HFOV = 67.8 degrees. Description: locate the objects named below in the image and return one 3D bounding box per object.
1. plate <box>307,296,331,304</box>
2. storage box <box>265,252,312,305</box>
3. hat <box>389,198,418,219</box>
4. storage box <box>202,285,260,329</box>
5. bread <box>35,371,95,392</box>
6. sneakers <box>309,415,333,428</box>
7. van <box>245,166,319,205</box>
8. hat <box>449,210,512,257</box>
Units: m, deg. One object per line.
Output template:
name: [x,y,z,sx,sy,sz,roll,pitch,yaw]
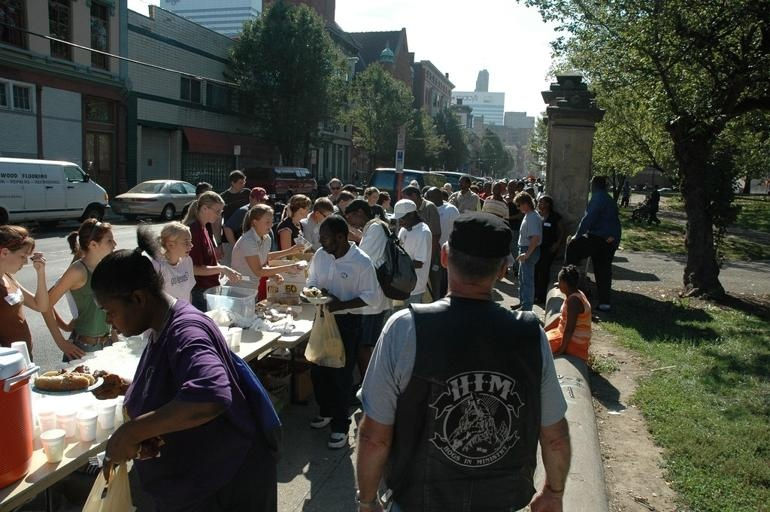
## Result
plate: [-0.714,0.471,6.208,0.119,0.057,0.121,-9,2,14]
storage box: [-1.275,0.316,7.565,0.597,0.595,0.604,1,18,-20]
hat: [0.292,-0.730,8.318,0.327,0.199,0.235,-19,19,-20]
storage box: [-1.701,0.512,6.370,0.517,0.400,0.407,7,13,24]
bread: [-2.594,1.008,4.657,0.525,0.119,0.188,3,12,4]
sneakers: [-0.744,1.937,6.743,0.112,0.141,0.297,0,-10,39]
van: [-5.566,-4.066,32.326,2.226,2.108,4.582,3,10,32]
hat: [0.675,-0.141,3.948,0.302,0.218,0.330,13,7,3]
